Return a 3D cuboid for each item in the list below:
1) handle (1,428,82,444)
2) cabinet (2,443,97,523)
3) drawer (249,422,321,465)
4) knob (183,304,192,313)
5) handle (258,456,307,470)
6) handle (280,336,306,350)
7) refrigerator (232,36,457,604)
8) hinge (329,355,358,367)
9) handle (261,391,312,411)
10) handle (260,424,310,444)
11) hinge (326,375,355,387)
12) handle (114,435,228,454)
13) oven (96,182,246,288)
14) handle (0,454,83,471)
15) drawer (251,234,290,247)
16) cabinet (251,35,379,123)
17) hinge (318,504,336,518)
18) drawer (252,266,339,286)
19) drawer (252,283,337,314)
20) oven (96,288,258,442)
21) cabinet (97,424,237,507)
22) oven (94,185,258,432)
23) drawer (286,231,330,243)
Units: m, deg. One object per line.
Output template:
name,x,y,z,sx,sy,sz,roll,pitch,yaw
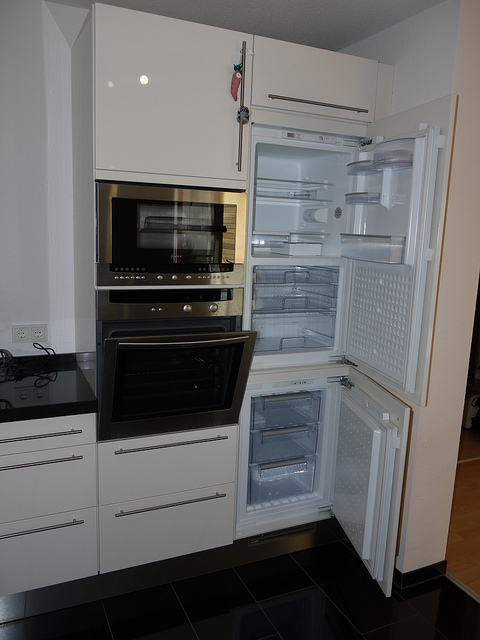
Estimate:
handle,-0.660,0.392,1.652,0.251,0.017,0.010,-3,9,-27
cabinet,-0.655,0.463,1.696,0.329,0.271,0.200,-4,12,-23
drawer,0.170,0.608,2.459,0.353,0.196,0.272,1,-4,-20
knob,-0.191,-0.040,1.792,0.022,0.027,0.006,-3,10,-28
handle,0.200,0.669,2.291,0.136,0.033,0.026,-5,30,-18
handle,0.257,0.104,2.325,0.165,0.045,0.061,-4,11,-32
refrigerator,0.329,-0.012,2.229,0.653,2.064,1.024,-8,13,-40
hinge,0.483,0.189,2.293,0.130,0.037,0.068,6,10,20
handle,0.213,0.380,2.232,0.252,0.092,0.102,1,9,-8
handle,0.214,0.530,2.269,0.116,0.035,0.119,-3,5,-13
hinge,0.459,0.284,2.272,0.128,0.049,0.059,3,9,7
handle,-0.272,0.480,1.874,0.254,0.020,0.014,-4,30,-33
oven,-0.258,-0.358,1.857,0.536,0.400,0.349,-3,30,-15
handle,-0.666,0.486,1.665,0.260,0.022,0.009,-3,9,-28
drawer,0.157,-0.374,2.314,0.189,0.052,0.091,-1,10,-19
cabinet,0.268,-0.872,1.966,0.538,0.338,0.278,2,7,-22
hinge,0.432,0.927,2.379,0.050,0.064,0.017,-3,12,5
drawer,0.223,-0.198,2.208,0.446,0.087,0.155,-3,11,-28
drawer,0.251,-0.096,2.261,0.223,0.098,0.179,-2,6,-12
oven,-0.277,0.099,1.961,0.557,0.651,0.515,-6,30,-22
cabinet,-0.279,0.556,1.890,0.347,0.190,0.264,-4,11,-22
oven,-0.285,-0.104,1.944,0.542,1.013,0.698,0,29,-8
drawer,0.331,-0.397,2.362,0.191,0.048,0.112,5,10,15
